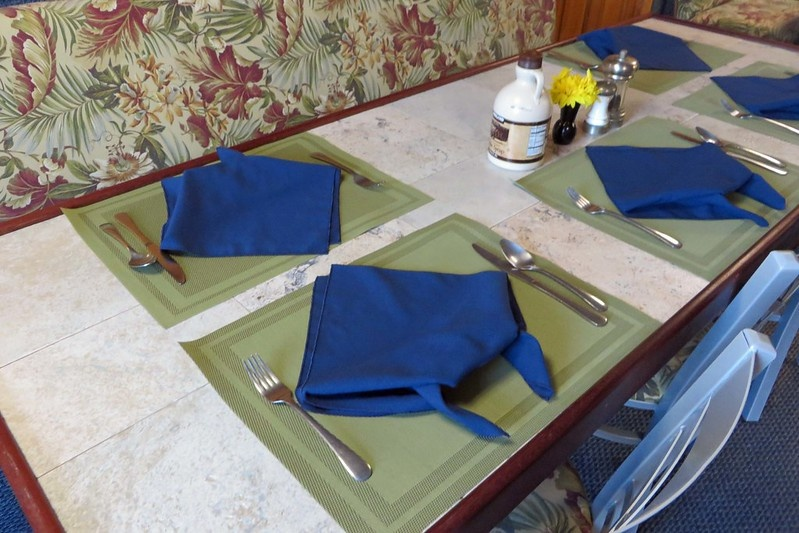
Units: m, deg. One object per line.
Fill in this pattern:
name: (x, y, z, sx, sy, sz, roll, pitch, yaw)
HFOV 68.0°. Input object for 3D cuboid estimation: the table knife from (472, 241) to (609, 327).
table knife: (0.247, 0.019, 1.189, 0.099, 0.040, 0.350, -32, 50, -30)

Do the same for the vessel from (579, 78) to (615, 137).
vessel: (0.511, -0.408, 1.527, 0.069, 0.144, 0.071, 23, 48, 29)

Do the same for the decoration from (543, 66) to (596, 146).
decoration: (0.422, -0.393, 1.500, 0.130, 0.158, 0.124, 9, 15, 11)

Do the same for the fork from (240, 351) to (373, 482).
fork: (-0.144, 0.248, 0.951, 0.035, 0.034, 0.229, -32, 60, -22)

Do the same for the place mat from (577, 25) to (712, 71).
place mat: (0.791, -0.695, 1.905, 0.261, 0.044, 0.295, -5, 44, -13)

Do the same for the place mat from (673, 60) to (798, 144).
place mat: (0.940, -0.451, 1.664, 0.253, 0.016, 0.273, 27, 48, 30)

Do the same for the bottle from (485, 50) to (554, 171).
bottle: (0.290, -0.366, 1.395, 0.182, 0.251, 0.194, 2, 37, -2)

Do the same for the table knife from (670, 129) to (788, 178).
table knife: (0.805, -0.282, 1.528, 0.091, 0.038, 0.327, -35, 50, -30)

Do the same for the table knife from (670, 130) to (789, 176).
table knife: (0.807, -0.280, 1.524, 0.321, 0.038, 0.089, 31, 51, 34)

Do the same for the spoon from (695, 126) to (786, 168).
spoon: (0.850, -0.293, 1.482, 0.259, 0.048, 0.045, 27, 13, 36)
